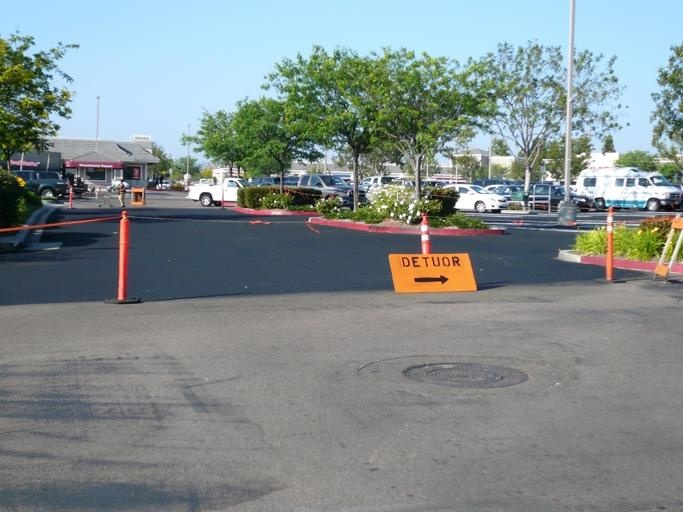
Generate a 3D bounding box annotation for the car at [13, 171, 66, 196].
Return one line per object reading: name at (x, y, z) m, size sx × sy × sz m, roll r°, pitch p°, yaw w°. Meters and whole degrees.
car at (-22.123, -5.275, 50.348) m, size 3.125 × 1.891 × 3.327 m, roll -5°, pitch 10°, yaw -37°
